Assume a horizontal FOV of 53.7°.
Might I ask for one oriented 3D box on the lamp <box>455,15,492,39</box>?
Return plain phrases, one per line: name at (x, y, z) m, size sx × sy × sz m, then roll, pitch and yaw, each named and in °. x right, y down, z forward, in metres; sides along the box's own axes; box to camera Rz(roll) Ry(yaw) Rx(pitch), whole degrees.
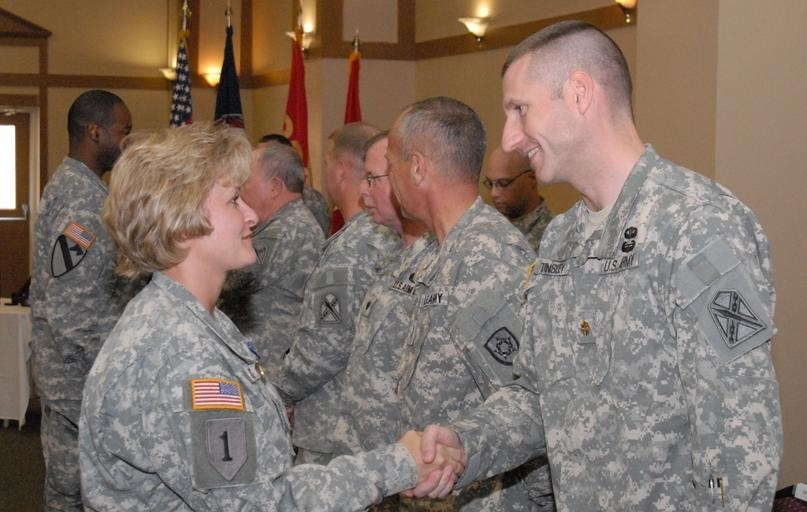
lamp at (0.715, -2.276, 7.940) m, size 0.235 × 0.160 × 0.233 m, roll 3°, pitch 12°, yaw 6°
